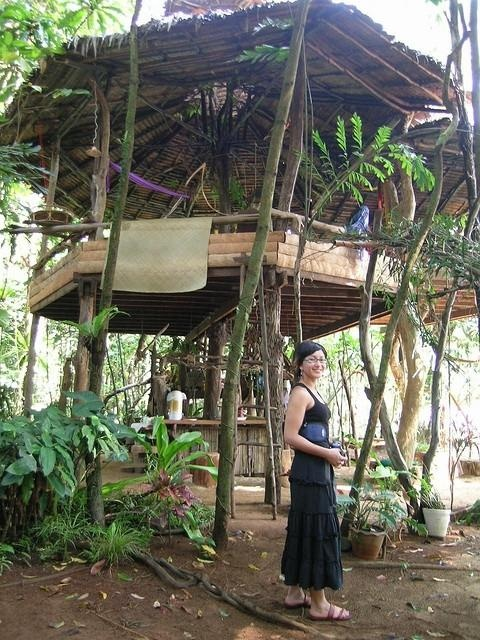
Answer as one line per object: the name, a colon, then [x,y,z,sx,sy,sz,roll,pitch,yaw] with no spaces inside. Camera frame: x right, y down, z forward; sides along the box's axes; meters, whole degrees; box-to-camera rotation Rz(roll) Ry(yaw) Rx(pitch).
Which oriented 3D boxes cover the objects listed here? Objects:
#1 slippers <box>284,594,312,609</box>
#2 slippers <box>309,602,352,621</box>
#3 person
slippers: [0.303,1.453,2.539,0.140,0.052,0.053,1,-9,-11]
slippers: [0.454,1.426,2.422,0.183,0.062,0.086,0,-10,-6]
person: [0.415,0.800,2.553,0.377,1.381,0.434,3,-8,14]
